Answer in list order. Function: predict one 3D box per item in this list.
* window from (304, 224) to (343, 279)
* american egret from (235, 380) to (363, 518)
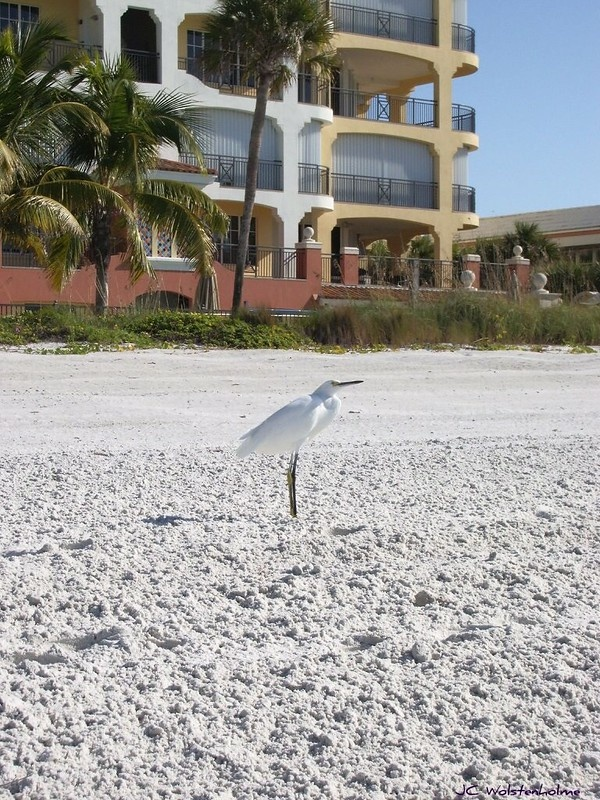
[{"bbox_3d":[0.293,-2.857,28.409,0.363,1.179,0.396,-9,2,29],"label":"window"},{"bbox_3d":[-0.032,0.295,7.163,0.470,0.787,0.476,9,11,42],"label":"american egret"}]
